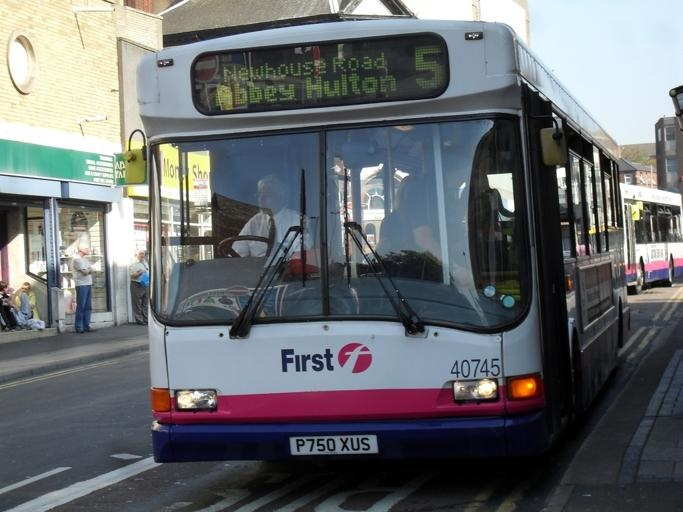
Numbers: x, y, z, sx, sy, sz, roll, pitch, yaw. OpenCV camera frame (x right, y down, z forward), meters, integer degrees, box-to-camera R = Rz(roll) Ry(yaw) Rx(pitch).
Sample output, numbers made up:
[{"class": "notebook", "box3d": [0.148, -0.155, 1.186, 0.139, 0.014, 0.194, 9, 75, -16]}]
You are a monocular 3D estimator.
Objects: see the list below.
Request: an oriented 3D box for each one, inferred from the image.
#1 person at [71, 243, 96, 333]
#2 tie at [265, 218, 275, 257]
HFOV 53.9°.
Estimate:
[{"class": "person", "box3d": [-8.075, 1.013, 20.866, 0.571, 2.902, 0.837, -4, 1, -23]}, {"class": "tie", "box3d": [-0.526, -0.146, 5.060, 0.048, 0.331, 0.015, -1, -13, 17]}]
